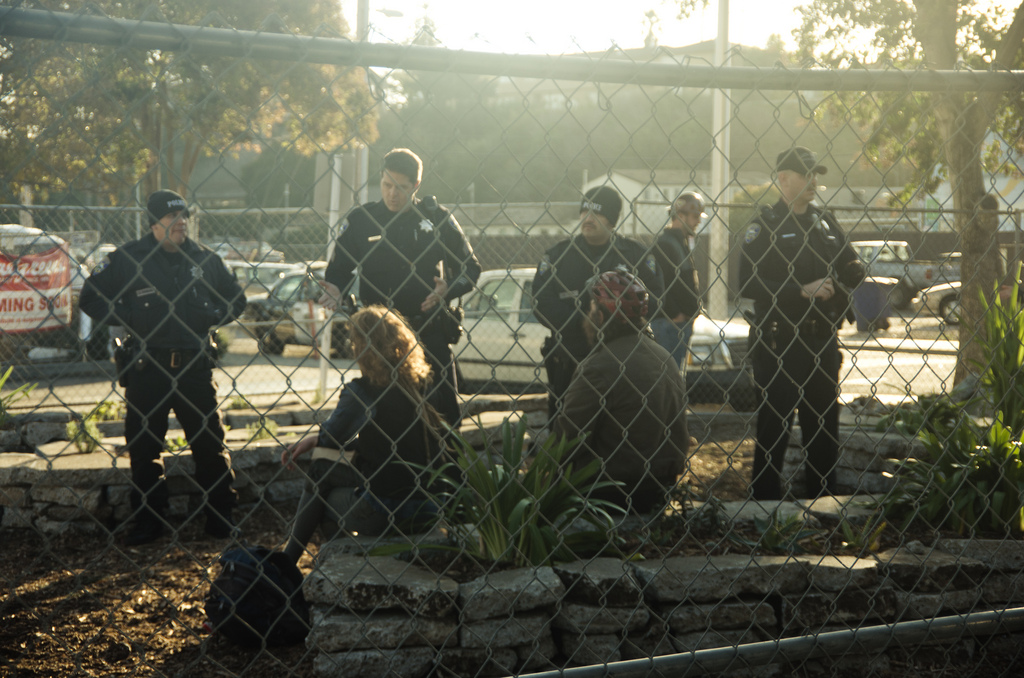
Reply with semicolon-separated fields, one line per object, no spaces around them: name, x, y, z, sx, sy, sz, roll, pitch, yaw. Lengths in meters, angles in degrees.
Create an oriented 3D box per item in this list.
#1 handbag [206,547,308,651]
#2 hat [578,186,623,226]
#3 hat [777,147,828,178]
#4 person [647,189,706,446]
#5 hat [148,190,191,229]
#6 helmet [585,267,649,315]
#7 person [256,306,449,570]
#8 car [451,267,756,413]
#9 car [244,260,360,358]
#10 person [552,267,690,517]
handbag;-1.691;1.696;8.682;0.745;0.765;0.583;1;5;-17
hat;0.682;-1.031;9.807;0.309;0.293;0.486;0;6;3
hat;2.251;-1.381;9.942;0.322;0.182;0.237;-4;9;4
person;1.418;-0.550;11.061;0.477;1.511;0.352;9;38;10
hat;-2.502;-0.950;9.310;0.303;0.255;0.222;-16;7;-4
helmet;0.727;-0.330;8.834;0.422;0.346;0.411;0;6;1
person;-0.987;0.634;8.896;1.098;1.765;1.284;-1;6;-5
car;0.658;0.016;14.150;2.883;1.443;1.663;1;2;39
car;-2.361;-0.320;14.217;1.181;1.018;2.026;-6;12;-31
person;0.787;0.372;8.912;0.981;1.749;1.004;-1;6;-7
